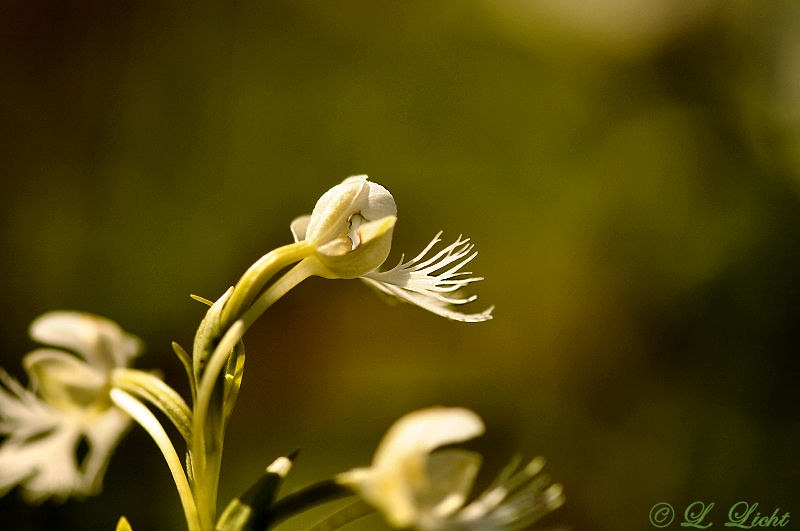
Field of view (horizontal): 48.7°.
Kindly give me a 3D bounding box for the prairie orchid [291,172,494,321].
[{"bbox_3d":[0.003,0.004,1.866,0.357,0.161,0.332,34,-3,-35],"label":"prairie orchid"}]
